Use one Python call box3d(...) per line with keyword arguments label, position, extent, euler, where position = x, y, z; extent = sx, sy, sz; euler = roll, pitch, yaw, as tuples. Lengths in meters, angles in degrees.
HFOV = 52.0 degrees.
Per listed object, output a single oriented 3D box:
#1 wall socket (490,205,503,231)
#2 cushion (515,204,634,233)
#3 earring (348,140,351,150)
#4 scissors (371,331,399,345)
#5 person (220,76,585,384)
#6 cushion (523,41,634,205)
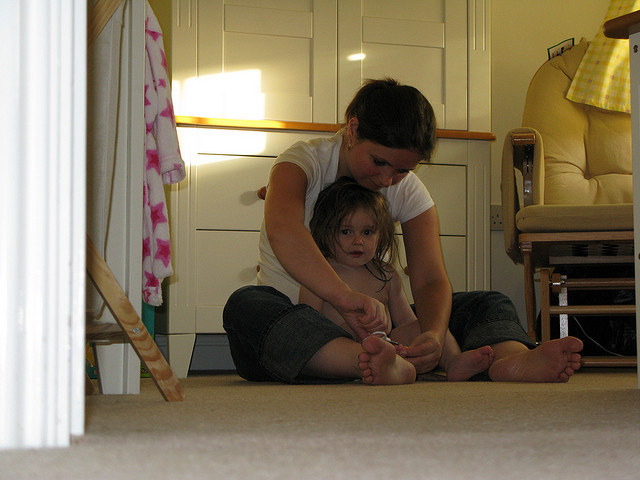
box3d(label="wall socket", position=(0.768, -0.094, 2.850), extent=(0.054, 0.115, 0.021), euler=(-5, 9, -19))
box3d(label="cushion", position=(0.705, -0.053, 1.832), extent=(0.217, 0.091, 0.277), euler=(0, 3, 10))
box3d(label="earring", position=(0.069, -0.224, 1.547), extent=(0.003, 0.012, 0.009), euler=(4, -34, -16))
box3d(label="scissors", position=(0.133, 0.199, 1.339), extent=(0.013, 0.050, 0.035), euler=(-44, 8, -13))
box3d(label="person", position=(0.143, -0.070, 1.618), extent=(0.632, 0.719, 0.828), euler=(2, -5, -27))
box3d(label="cushion", position=(0.918, -0.425, 2.320), extent=(0.358, 0.552, 0.333), euler=(-1, 9, 3))
